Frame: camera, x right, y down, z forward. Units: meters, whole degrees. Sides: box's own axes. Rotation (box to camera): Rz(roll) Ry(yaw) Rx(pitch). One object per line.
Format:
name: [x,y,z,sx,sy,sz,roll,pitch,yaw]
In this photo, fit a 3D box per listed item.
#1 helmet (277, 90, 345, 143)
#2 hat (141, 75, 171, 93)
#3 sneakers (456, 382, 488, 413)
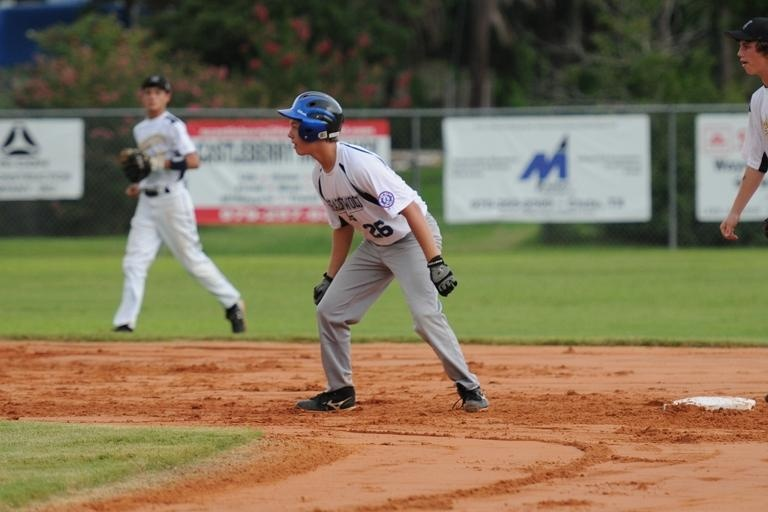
helmet: [-0.828,-1.572,15.012,0.749,0.432,0.504,4,2,1]
hat: [-3.026,-2.294,17.593,0.299,0.204,0.391,1,13,1]
sneakers: [0.996,1.620,15.092,0.200,0.225,0.496,-13,-30,9]
